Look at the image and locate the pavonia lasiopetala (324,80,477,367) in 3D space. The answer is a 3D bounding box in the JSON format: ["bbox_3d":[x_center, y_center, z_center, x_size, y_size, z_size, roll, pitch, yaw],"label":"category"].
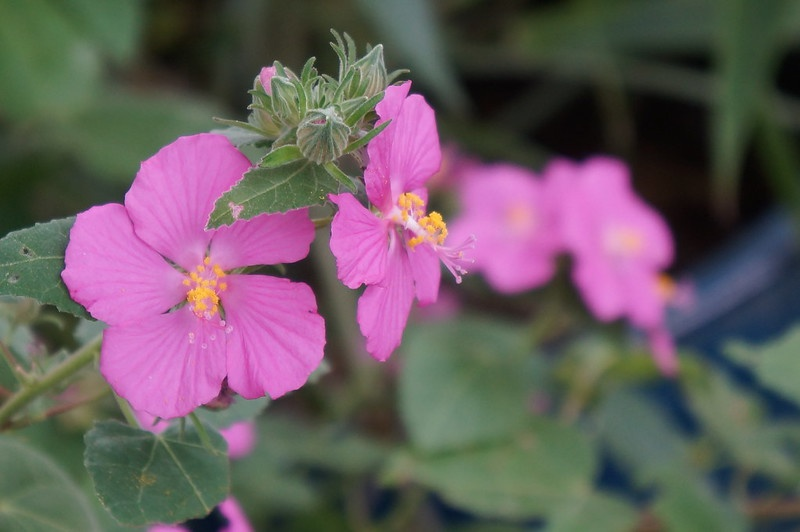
[{"bbox_3d":[-0.033,-0.109,1.386,0.153,0.400,0.446,-28,18,-14],"label":"pavonia lasiopetala"}]

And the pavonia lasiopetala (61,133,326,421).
[{"bbox_3d":[-0.298,0.013,1.163,0.358,0.341,0.204,-7,29,-5],"label":"pavonia lasiopetala"}]
